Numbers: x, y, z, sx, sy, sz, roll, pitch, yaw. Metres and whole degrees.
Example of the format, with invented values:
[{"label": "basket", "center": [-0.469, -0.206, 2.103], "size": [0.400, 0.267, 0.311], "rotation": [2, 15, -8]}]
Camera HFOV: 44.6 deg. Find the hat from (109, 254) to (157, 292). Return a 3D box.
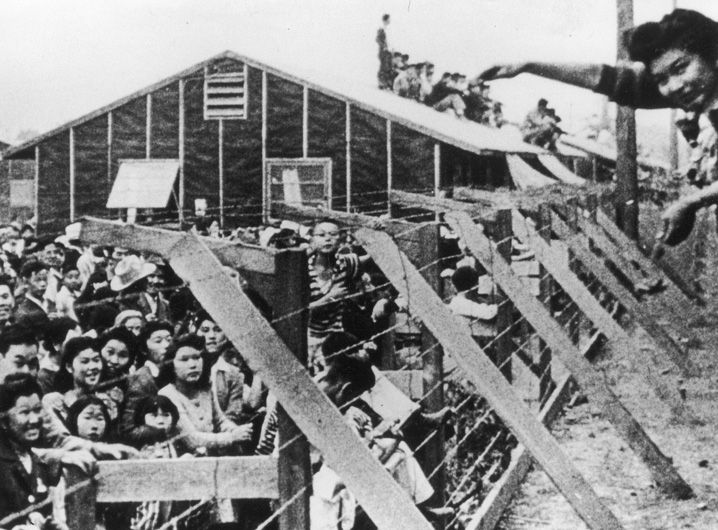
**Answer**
[{"label": "hat", "center": [-1.881, 0.045, 7.186], "size": [0.325, 0.319, 0.131], "rotation": [-27, -45, 18]}]
